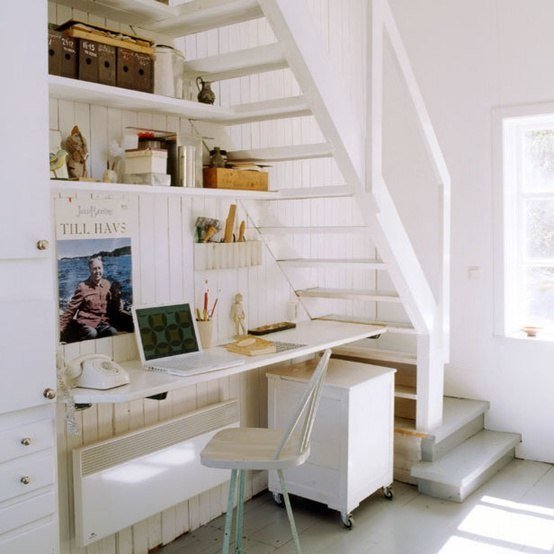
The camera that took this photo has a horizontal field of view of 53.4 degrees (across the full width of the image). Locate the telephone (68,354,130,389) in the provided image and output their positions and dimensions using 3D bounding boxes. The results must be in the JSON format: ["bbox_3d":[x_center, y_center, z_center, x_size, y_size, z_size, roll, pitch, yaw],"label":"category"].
[{"bbox_3d":[-0.694,0.365,2.165,0.216,0.127,0.232,0,-4,8],"label":"telephone"}]

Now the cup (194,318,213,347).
[{"bbox_3d":[-0.372,0.288,2.839,0.110,0.146,0.114,0,0,0],"label":"cup"}]

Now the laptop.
[{"bbox_3d":[-0.417,0.298,2.515,0.319,0.221,0.344,3,3,34],"label":"laptop"}]
